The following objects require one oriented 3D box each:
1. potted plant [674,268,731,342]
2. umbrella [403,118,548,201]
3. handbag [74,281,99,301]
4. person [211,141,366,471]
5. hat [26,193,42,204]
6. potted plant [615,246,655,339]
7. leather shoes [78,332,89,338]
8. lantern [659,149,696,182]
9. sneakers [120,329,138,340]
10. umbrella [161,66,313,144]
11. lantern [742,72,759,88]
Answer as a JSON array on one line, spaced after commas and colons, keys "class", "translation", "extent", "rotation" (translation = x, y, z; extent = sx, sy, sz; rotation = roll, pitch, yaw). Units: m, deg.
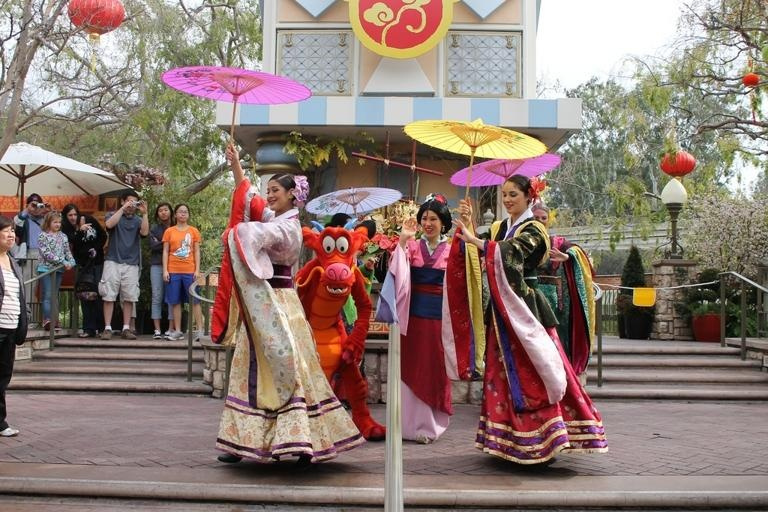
[{"class": "potted plant", "translation": [6.087, 0.940, 19.028], "extent": [0.767, 1.342, 1.382], "rotation": [0, 0, 16]}, {"class": "umbrella", "translation": [1.034, -1.182, 11.907], "extent": [1.678, 0.914, 1.373], "rotation": [11, -8, -2]}, {"class": "handbag", "translation": [-5.059, 0.605, 16.723], "extent": [0.337, 0.283, 0.228], "rotation": [4, -11, -10]}, {"class": "person", "translation": [-1.273, 0.533, 11.643], "extent": [1.519, 3.711, 0.721], "rotation": [0, 1, -9]}, {"class": "hat", "translation": [-6.109, -1.012, 17.116], "extent": [0.226, 0.235, 0.292], "rotation": [-3, 5, -10]}, {"class": "potted plant", "translation": [5.220, 0.814, 20.388], "extent": [0.750, 1.691, 1.787], "rotation": [0, 0, 13]}, {"class": "leather shoes", "translation": [-5.194, 1.348, 16.984], "extent": [0.077, 0.082, 0.217], "rotation": [4, -7, -35]}, {"class": "lantern", "translation": [5.869, -1.863, 19.537], "extent": [0.732, 0.668, 0.699], "rotation": [3, -2, 7]}, {"class": "sneakers", "translation": [-4.394, 1.337, 16.840], "extent": [0.137, 0.115, 0.285], "rotation": [4, -8, -36]}, {"class": "umbrella", "translation": [-1.738, -1.766, 11.540], "extent": [1.563, 0.836, 1.342], "rotation": [5, -4, -6]}, {"class": "lantern", "translation": [6.551, -3.157, 17.567], "extent": [0.227, 0.221, 0.562], "rotation": [0, 0, 24]}]
